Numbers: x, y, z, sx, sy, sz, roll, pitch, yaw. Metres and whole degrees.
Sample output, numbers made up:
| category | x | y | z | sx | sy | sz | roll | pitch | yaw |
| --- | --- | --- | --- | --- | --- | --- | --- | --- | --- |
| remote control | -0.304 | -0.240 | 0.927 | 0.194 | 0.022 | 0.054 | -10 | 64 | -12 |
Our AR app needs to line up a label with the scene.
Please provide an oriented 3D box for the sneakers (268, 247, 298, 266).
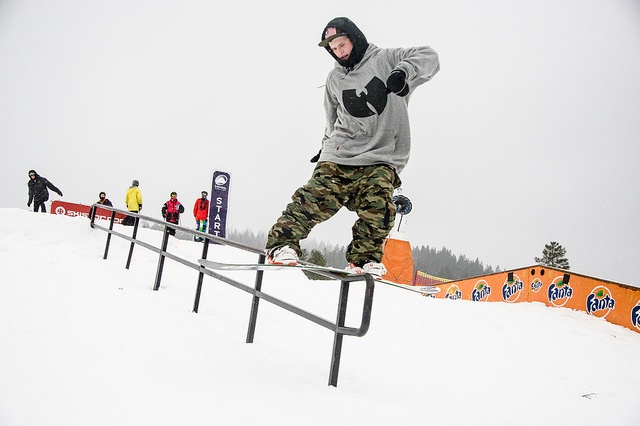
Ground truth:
| category | x | y | z | sx | sy | sz | roll | pitch | yaw |
| --- | --- | --- | --- | --- | --- | --- | --- | --- | --- |
| sneakers | -0.367 | 0.448 | 5.051 | 0.139 | 0.157 | 0.331 | 6 | 0 | -28 |

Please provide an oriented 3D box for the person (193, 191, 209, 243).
| category | x | y | z | sx | sy | sz | roll | pitch | yaw |
| --- | --- | --- | --- | --- | --- | --- | --- | --- | --- |
| person | -3.654 | -0.044 | 15.364 | 0.422 | 1.398 | 0.506 | 9 | 1 | -6 |

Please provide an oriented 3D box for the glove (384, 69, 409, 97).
| category | x | y | z | sx | sy | sz | roll | pitch | yaw |
| --- | --- | --- | --- | --- | --- | --- | --- | --- | --- |
| glove | 0.835 | -1.332 | 5.088 | 0.286 | 0.267 | 0.132 | 8 | 1 | -37 |

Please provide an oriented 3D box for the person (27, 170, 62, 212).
| category | x | y | z | sx | sy | sz | roll | pitch | yaw |
| --- | --- | --- | --- | --- | --- | --- | --- | --- | --- |
| person | -8.301 | -0.613 | 14.703 | 0.663 | 1.184 | 1.877 | 8 | 1 | -30 |

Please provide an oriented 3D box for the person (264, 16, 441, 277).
| category | x | y | z | sx | sy | sz | roll | pitch | yaw |
| --- | --- | --- | --- | --- | --- | --- | --- | --- | --- |
| person | 0.380 | -0.721 | 5.397 | 1.395 | 2.784 | 0.798 | 9 | 1 | -5 |
